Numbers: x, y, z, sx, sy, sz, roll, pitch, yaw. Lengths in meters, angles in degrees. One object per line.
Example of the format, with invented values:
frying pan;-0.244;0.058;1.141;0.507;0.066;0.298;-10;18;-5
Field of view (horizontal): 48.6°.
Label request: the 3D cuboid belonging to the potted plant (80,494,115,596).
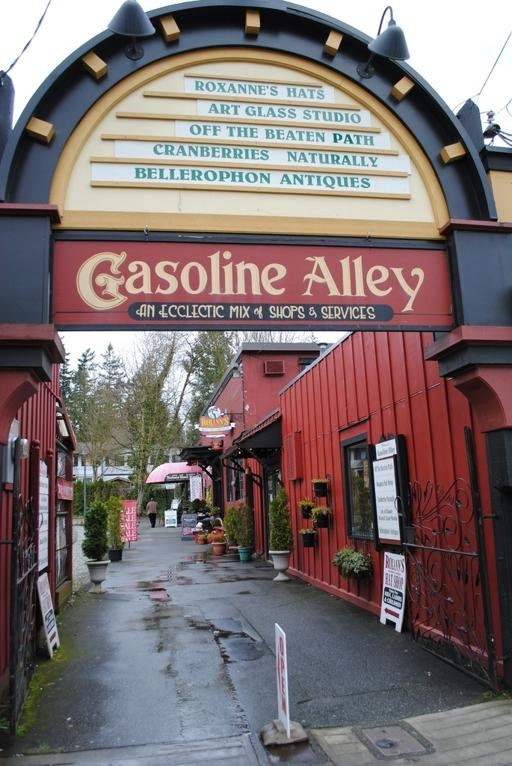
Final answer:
potted plant;-3.054;3.109;10.755;0.457;1.669;1.217;2;-13;-17
